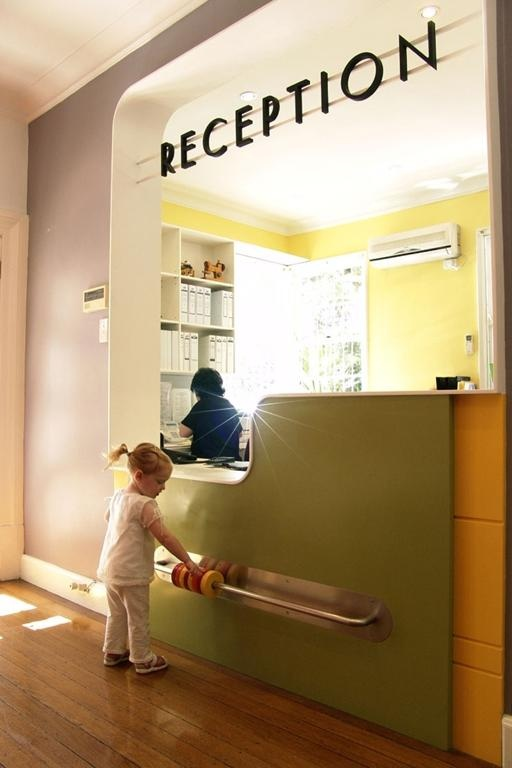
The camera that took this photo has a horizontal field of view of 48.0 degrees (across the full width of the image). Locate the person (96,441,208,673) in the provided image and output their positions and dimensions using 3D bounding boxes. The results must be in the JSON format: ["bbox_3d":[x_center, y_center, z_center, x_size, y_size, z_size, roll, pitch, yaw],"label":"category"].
[{"bbox_3d":[-0.394,0.608,2.055,0.261,0.788,0.428,1,-6,-32],"label":"person"}]

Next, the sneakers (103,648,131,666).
[{"bbox_3d":[-0.500,0.985,2.114,0.041,0.052,0.116,-1,-5,27],"label":"sneakers"}]
